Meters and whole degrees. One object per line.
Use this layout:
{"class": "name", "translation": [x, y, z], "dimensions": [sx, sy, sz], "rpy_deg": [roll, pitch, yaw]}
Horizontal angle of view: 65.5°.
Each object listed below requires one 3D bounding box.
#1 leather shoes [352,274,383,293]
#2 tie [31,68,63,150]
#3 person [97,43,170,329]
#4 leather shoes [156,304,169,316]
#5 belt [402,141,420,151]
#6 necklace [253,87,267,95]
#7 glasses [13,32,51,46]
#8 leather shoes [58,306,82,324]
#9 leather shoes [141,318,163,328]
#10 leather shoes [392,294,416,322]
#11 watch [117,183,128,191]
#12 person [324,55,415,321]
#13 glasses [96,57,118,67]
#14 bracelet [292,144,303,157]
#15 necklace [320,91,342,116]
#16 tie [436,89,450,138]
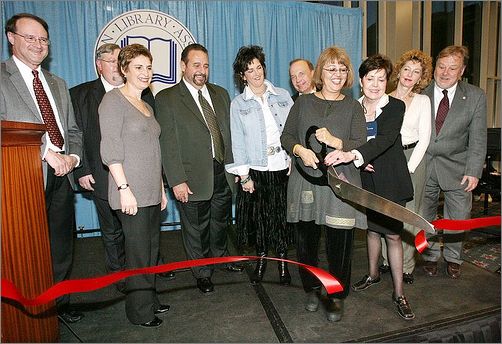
{"class": "leather shoes", "translation": [1.078, 1.021, 3.632], "dimensions": [0.297, 0.112, 0.101], "rpy_deg": [-8, 10, -24]}
{"class": "tie", "translation": [-1.601, -0.488, 3.058], "dimensions": [0.227, 0.605, 0.131], "rpy_deg": [11, 18, 39]}
{"class": "person", "translation": [-0.892, 0.130, 3.075], "dimensions": [0.403, 2.205, 0.493], "rpy_deg": [4, 15, 20]}
{"class": "leather shoes", "translation": [-0.748, 1.170, 3.317], "dimensions": [0.130, 0.054, 0.048], "rpy_deg": [-12, 29, -15]}
{"class": "belt", "translation": [1.413, -0.235, 3.448], "dimensions": [0.112, 0.050, 0.088], "rpy_deg": [-9, 2, 3]}
{"class": "necklace", "translation": [0.075, -0.738, 3.547], "dimensions": [0.075, 0.019, 0.073], "rpy_deg": [0, -24, 3]}
{"class": "glasses", "translation": [-1.684, -1.030, 2.997], "dimensions": [0.228, 0.094, 0.089], "rpy_deg": [-10, 17, -30]}
{"class": "leather shoes", "translation": [-1.440, 1.186, 3.226], "dimensions": [0.240, 0.107, 0.089], "rpy_deg": [10, 25, -2]}
{"class": "leather shoes", "translation": [-0.793, 1.224, 3.129], "dimensions": [0.140, 0.063, 0.072], "rpy_deg": [-8, 11, -7]}
{"class": "leather shoes", "translation": [1.267, 1.125, 3.220], "dimensions": [0.082, 0.093, 0.233], "rpy_deg": [-4, 14, -1]}
{"class": "watch", "translation": [-0.944, 0.106, 2.889], "dimensions": [0.078, 0.050, 0.035], "rpy_deg": [-7, 15, -21]}
{"class": "person", "translation": [0.992, 0.123, 3.317], "dimensions": [0.775, 2.124, 0.727], "rpy_deg": [-5, 14, 1]}
{"class": "glasses", "translation": [-1.350, -1.055, 3.636], "dimensions": [0.163, 0.083, 0.129], "rpy_deg": [15, 23, 34]}
{"class": "bracelet", "translation": [0.375, -0.172, 3.038], "dimensions": [0.067, 0.042, 0.089], "rpy_deg": [-1, -17, -10]}
{"class": "necklace", "translation": [0.629, -0.537, 3.052], "dimensions": [0.182, 0.239, 0.011], "rpy_deg": [3, -1, 14]}
{"class": "tie", "translation": [1.826, -0.576, 3.712], "dimensions": [0.161, 0.406, 0.094], "rpy_deg": [-12, 18, -37]}
